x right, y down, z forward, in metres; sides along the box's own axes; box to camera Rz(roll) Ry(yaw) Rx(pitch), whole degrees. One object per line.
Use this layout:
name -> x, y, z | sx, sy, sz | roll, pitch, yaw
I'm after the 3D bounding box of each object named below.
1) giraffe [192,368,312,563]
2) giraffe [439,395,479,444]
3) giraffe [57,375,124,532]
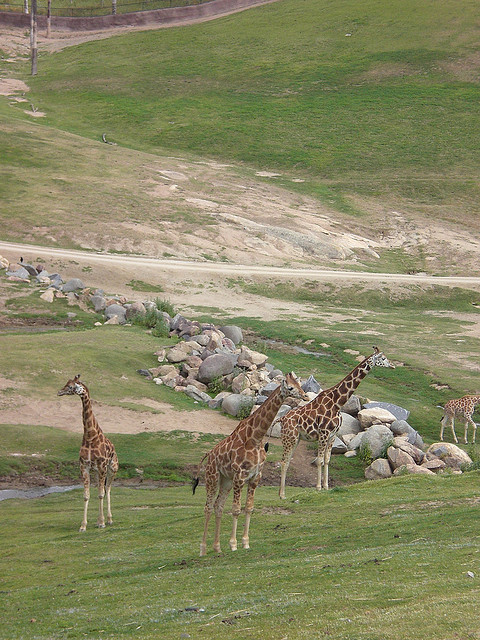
giraffe -> 0.195, 4.073, 34.256 | 2.151, 5.461, 2.449 | 3, 0, -44
giraffe -> 8.320, 3.682, 46.745 | 1.429, 1.660, 2.554 | 3, 6, 9
giraffe -> -4.376, 3.978, 36.470 | 1.187, 4.282, 3.374 | -4, -11, 13
